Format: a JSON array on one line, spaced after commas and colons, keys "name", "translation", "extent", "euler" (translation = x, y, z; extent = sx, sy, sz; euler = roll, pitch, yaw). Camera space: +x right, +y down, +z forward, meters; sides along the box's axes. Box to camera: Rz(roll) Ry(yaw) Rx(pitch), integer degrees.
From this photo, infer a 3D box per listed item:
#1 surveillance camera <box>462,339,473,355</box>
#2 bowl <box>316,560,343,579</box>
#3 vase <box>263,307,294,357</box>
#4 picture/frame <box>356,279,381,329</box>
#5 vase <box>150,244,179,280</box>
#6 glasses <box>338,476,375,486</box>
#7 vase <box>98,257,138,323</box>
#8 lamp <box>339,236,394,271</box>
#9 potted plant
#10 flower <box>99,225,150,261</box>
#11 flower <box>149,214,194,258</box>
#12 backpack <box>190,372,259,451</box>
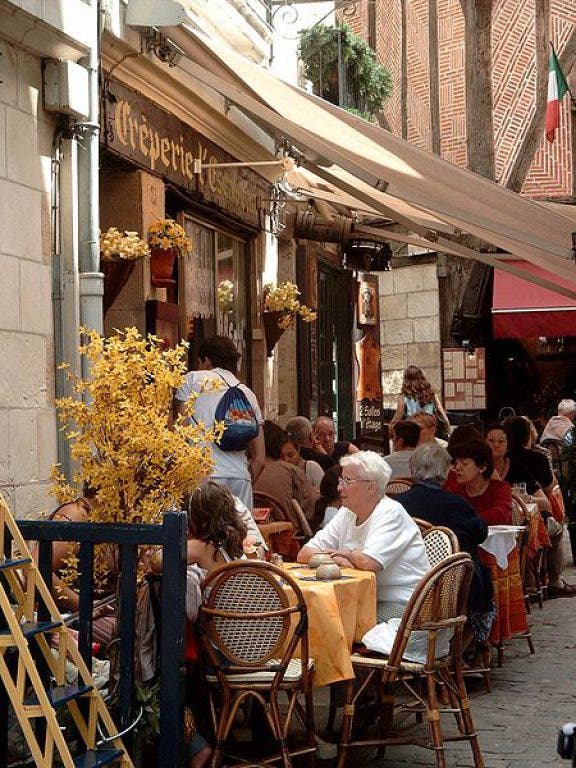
[{"name": "surveillance camera", "translation": [2.656, -0.541, 15.337], "extent": [0.195, 0.190, 0.358], "euler": [1, -16, 5]}, {"name": "bowl", "translation": [0.170, 0.781, 4.421], "extent": [0.075, 0.042, 0.074], "euler": [2, -3, 0]}, {"name": "vase", "translation": [-0.128, -0.485, 9.804], "extent": [0.370, 0.522, 0.339], "euler": [1, 6, -21]}, {"name": "picture/frame", "translation": [1.054, -1.057, 13.757], "extent": [0.105, 0.753, 0.674], "euler": [-2, -3, 23]}, {"name": "vase", "translation": [-0.822, -0.817, 7.108], "extent": [0.189, 0.207, 0.202], "euler": [-1, 4, 18]}, {"name": "glasses", "translation": [0.304, 0.447, 4.808], "extent": [0.181, 0.048, 0.060], "euler": [1, 2, 35]}, {"name": "vase", "translation": [-1.016, -0.599, 6.395], "extent": [0.286, 0.292, 0.295], "euler": [4, 6, 13]}, {"name": "lamp", "translation": [0.785, -1.279, 10.362], "extent": [0.473, 0.289, 0.438], "euler": [-1, 2, 3]}, {"name": "potted plant", "translation": [0.755, -4.382, 14.793], "extent": [0.701, 1.169, 1.571], "euler": [0, 2, 31]}, {"name": "flower", "translation": [-1.002, -0.819, 6.337], "extent": [0.254, 0.142, 0.254], "euler": [2, -2, -6]}, {"name": "flower", "translation": [-0.787, -0.995, 7.058], "extent": [0.164, 0.226, 0.328], "euler": [0, 2, 31]}, {"name": "backpack", "translation": [-0.308, 0.163, 6.253], "extent": [0.324, 0.465, 0.254], "euler": [-5, -11, -4]}]
